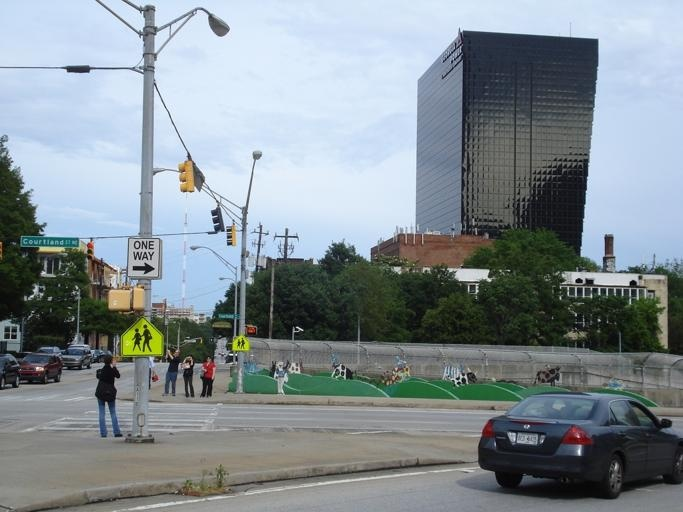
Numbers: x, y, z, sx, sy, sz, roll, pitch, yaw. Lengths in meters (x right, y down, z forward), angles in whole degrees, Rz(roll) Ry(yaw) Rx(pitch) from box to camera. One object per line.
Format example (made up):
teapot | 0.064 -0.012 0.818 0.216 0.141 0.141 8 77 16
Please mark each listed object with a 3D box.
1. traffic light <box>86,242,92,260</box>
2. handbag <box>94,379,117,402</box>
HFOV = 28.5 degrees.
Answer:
traffic light | -16.132 -0.422 84.348 0.349 0.954 1.914 3 -7 -13
handbag | -12.538 7.032 69.969 1.024 1.105 0.556 2 -7 0
